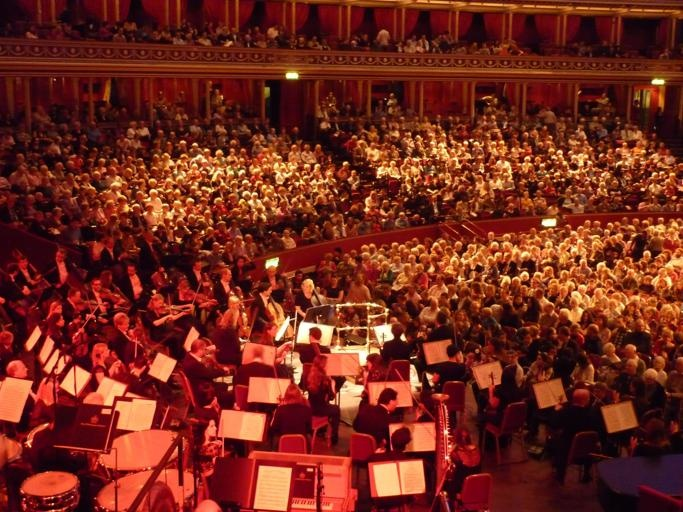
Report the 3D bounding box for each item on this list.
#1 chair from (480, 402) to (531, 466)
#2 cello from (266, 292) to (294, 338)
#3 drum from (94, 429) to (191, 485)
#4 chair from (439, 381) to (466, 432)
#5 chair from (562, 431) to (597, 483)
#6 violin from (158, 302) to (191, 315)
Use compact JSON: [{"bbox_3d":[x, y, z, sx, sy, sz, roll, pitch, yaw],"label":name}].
[{"bbox_3d":[2.818,2.818,10.193,0.804,1.203,0.662,-5,17,-17],"label":"chair"},{"bbox_3d":[-1.287,1.284,13.169,0.462,1.020,0.297,-10,-14,-43],"label":"cello"},{"bbox_3d":[-2.568,2.387,7.491,0.791,0.302,0.799,4,20,-1],"label":"drum"},{"bbox_3d":[1.925,2.597,10.535,0.559,0.838,0.571,3,-4,-31],"label":"chair"},{"bbox_3d":[3.721,3.057,9.431,0.383,0.994,0.622,8,18,24],"label":"chair"},{"bbox_3d":[-3.341,1.073,12.417,0.470,0.241,0.103,8,59,1],"label":"violin"}]
